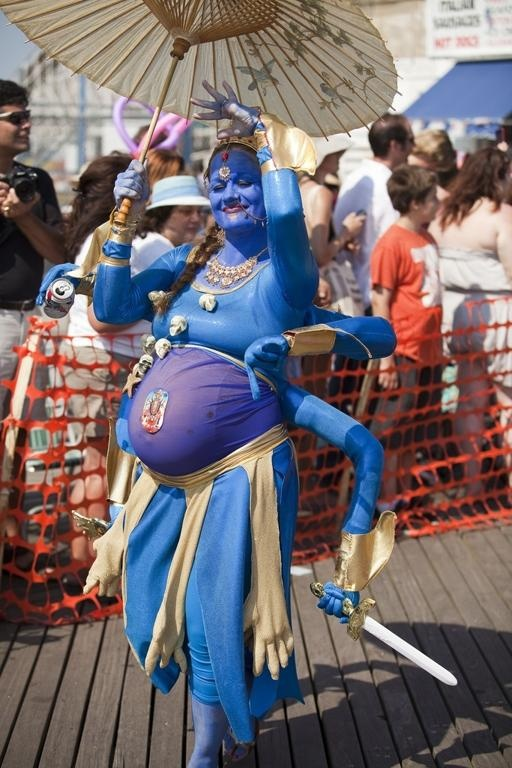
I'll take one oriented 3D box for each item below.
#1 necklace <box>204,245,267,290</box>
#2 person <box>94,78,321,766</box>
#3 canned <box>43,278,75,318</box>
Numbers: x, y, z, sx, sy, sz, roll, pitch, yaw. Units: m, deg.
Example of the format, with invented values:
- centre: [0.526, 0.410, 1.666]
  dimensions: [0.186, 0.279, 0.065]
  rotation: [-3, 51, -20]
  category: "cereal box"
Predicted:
- centre: [-0.053, -0.303, 1.678]
  dimensions: [0.113, 0.045, 0.123]
  rotation: [5, 38, 42]
  category: "necklace"
- centre: [-0.134, 0.237, 1.721]
  dimensions: [0.573, 1.869, 0.422]
  rotation: [8, 14, 30]
  category: "person"
- centre: [-0.499, -0.223, 1.720]
  dimensions: [0.067, 0.070, 0.112]
  rotation: [-35, 19, 17]
  category: "canned"
